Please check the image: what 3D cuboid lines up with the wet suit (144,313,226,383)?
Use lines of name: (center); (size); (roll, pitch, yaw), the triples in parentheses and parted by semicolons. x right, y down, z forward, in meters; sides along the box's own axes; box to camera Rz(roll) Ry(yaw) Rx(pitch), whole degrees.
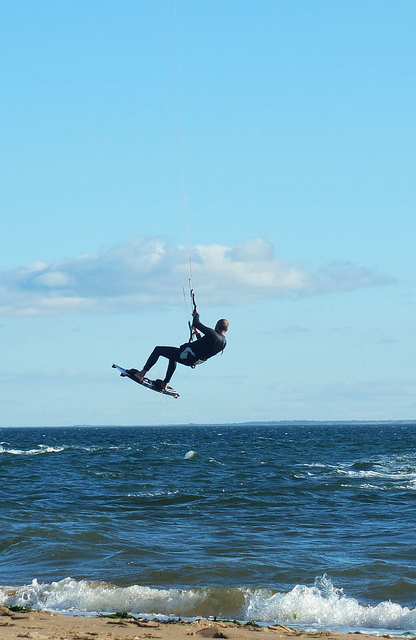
wet suit: (-0.421, 0.596, 20.808); (1.391, 1.436, 1.238); (-4, 2, -17)
